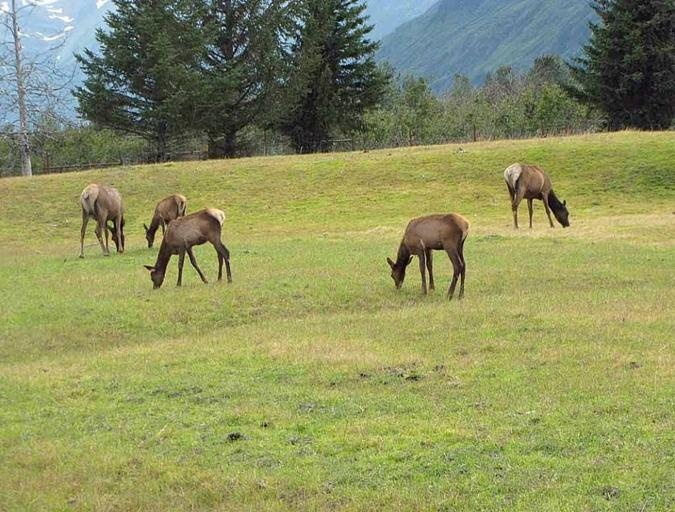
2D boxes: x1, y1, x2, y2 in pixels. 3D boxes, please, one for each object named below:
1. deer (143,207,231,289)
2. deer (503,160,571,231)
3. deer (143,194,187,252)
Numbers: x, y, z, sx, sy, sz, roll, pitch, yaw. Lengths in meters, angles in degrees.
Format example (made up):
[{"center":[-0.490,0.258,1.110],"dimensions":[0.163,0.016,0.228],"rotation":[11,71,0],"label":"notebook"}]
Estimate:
[{"center":[-4.585,-0.512,29.851],"dimensions":[2.183,2.999,2.084],"rotation":[20,20,41],"label":"deer"},{"center":[7.947,-2.360,37.390],"dimensions":[2.295,2.764,1.471],"rotation":[-7,15,-15],"label":"deer"},{"center":[-6.598,-1.352,35.501],"dimensions":[0.718,1.665,2.703],"rotation":[3,-19,-39],"label":"deer"}]
